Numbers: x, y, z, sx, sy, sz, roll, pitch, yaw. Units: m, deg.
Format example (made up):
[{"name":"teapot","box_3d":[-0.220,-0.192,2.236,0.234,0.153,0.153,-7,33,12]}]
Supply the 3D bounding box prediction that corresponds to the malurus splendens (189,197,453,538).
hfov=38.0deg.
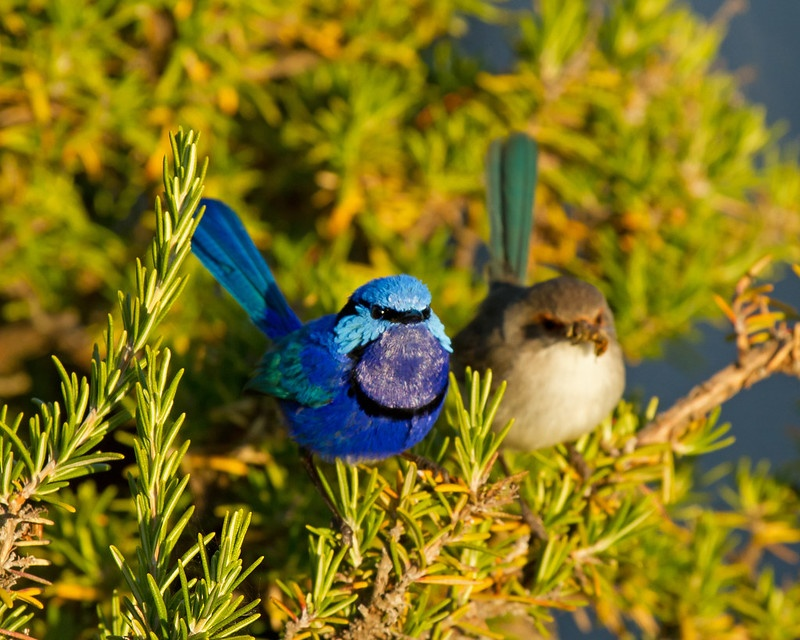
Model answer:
[{"name":"malurus splendens","box_3d":[-0.386,0.014,5.229,0.815,1.145,1.605,-23,39,-38]}]
